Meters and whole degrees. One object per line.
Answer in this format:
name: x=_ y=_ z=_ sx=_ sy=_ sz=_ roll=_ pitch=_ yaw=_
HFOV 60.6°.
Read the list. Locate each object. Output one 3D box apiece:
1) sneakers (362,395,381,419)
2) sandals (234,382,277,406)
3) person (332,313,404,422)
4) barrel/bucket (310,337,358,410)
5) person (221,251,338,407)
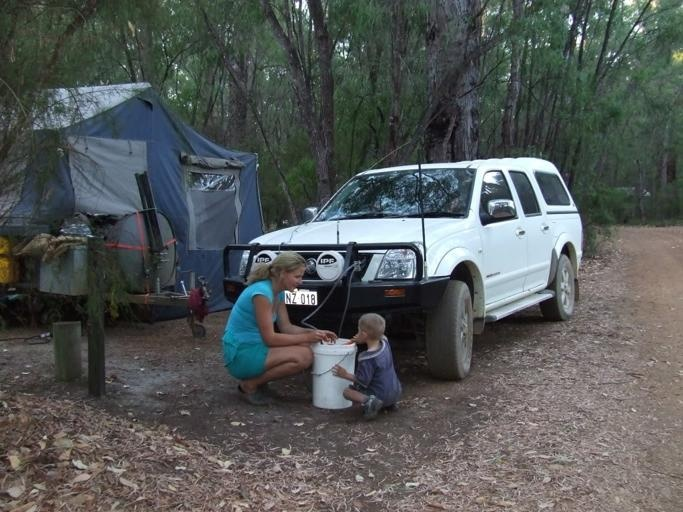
sneakers: x=0.272 y=1.369 z=5.248 sx=0.100 sy=0.109 sz=0.237 roll=19 pitch=-35 yaw=6
sandals: x=-0.837 y=1.366 z=5.685 sx=0.313 sy=0.146 sz=0.183 roll=5 pitch=9 yaw=31
person: x=0.237 y=0.997 z=5.423 sx=0.626 sy=0.921 sz=0.474 roll=0 pitch=6 yaw=2
barrel/bucket: x=-0.105 y=1.145 z=5.710 sx=0.520 sy=0.616 sz=0.497 roll=0 pitch=0 yaw=0
person: x=-0.606 y=0.712 z=5.704 sx=1.016 sy=1.501 sz=0.960 roll=3 pitch=-1 yaw=-26
